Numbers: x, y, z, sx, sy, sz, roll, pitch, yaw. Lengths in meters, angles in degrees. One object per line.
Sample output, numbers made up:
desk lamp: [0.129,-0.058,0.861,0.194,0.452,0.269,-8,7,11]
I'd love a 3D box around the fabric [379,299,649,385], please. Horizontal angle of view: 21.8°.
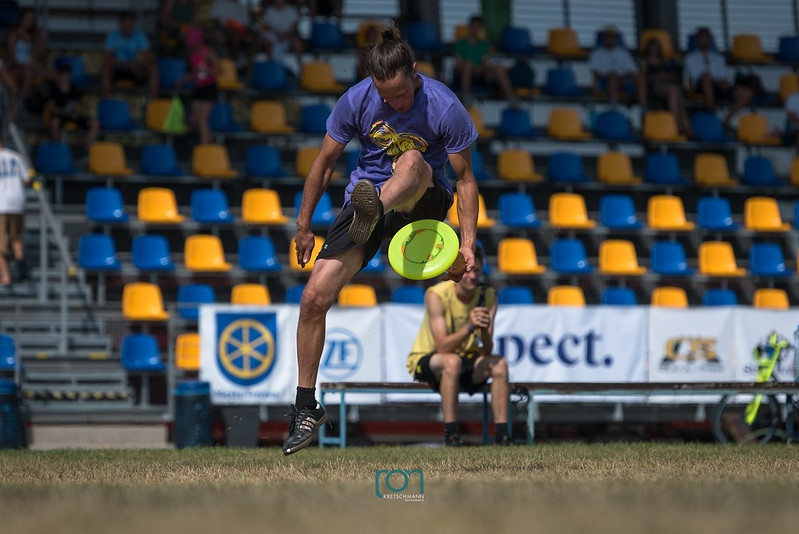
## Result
fabric: [2.054,1.166,33.236,4.073,1.346,0.299,-1,7,17]

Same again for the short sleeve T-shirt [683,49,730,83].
short sleeve T-shirt: [5.760,-3.695,38.151,0.856,0.672,0.442,-2,-4,33]

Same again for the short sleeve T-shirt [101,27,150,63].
short sleeve T-shirt: [-5.011,-4.040,37.704,1.012,0.776,0.538,-4,-1,-3]

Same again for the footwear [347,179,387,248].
footwear: [-0.497,-0.848,29.567,0.394,0.912,0.421,19,13,18]

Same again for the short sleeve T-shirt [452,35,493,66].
short sleeve T-shirt: [1.415,-4.111,39.473,0.870,0.577,0.467,0,-7,-4]
